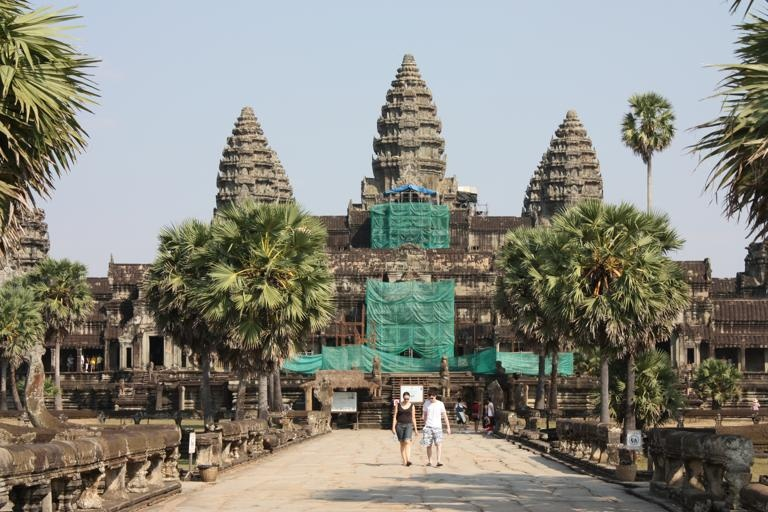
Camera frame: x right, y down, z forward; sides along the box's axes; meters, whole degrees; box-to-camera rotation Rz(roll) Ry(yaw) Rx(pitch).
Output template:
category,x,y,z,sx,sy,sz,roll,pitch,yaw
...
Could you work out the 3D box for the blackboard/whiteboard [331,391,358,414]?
category,x,y,z,sx,sy,sz,roll,pitch,yaw
blackboard/whiteboard,-2.296,8.267,82.364,1.343,1.112,1.174,-1,-10,5
